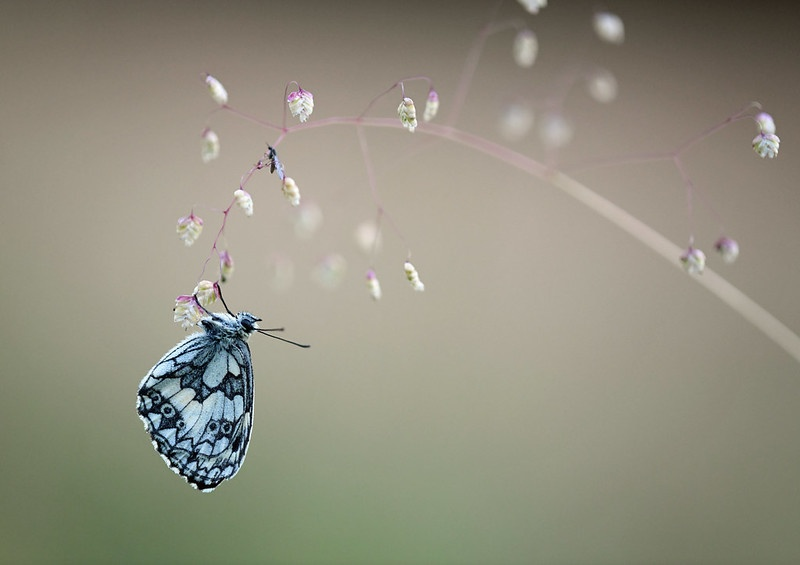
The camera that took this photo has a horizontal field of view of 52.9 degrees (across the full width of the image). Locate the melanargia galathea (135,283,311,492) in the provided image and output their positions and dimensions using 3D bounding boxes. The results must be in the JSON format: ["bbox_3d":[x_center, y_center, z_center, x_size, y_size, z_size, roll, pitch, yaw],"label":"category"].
[{"bbox_3d":[-0.608,0.328,2.495,0.354,0.482,0.458,13,-28,-23],"label":"melanargia galathea"}]
